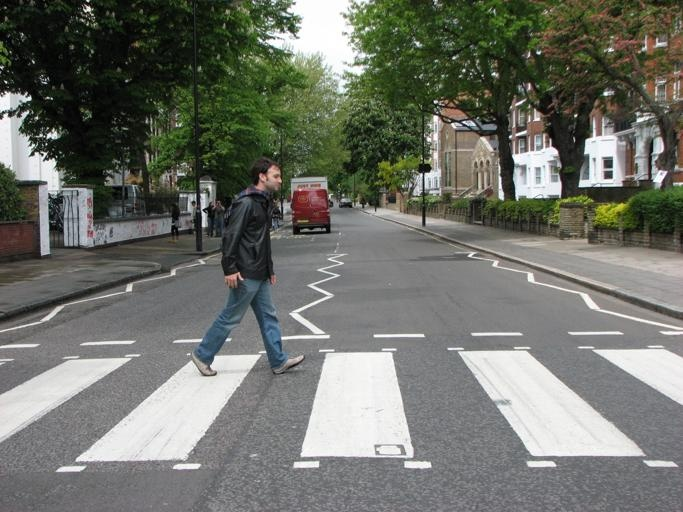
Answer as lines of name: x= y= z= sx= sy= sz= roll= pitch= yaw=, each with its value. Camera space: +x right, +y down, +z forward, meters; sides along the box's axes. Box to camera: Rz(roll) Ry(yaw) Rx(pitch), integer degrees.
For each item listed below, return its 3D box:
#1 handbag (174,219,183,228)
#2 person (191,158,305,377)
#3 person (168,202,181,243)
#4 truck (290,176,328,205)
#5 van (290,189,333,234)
handbag: x=-8.576 y=-1.713 z=32.689 sx=0.376 sy=0.530 sz=0.689 roll=-1 pitch=6 yaw=10
person: x=-1.061 y=0.128 z=7.141 sx=1.129 sy=2.470 sz=0.462 roll=-2 pitch=5 yaw=-8
person: x=-8.151 y=-1.671 z=30.546 sx=0.302 sy=1.800 sz=1.109 roll=-3 pitch=6 yaw=-17
truck: x=-2.167 y=-4.387 z=42.182 sx=2.463 sy=1.837 sz=1.625 roll=-1 pitch=1 yaw=-2
van: x=-2.015 y=-2.751 z=41.375 sx=2.434 sy=2.846 sz=5.030 roll=-2 pitch=-2 yaw=0
